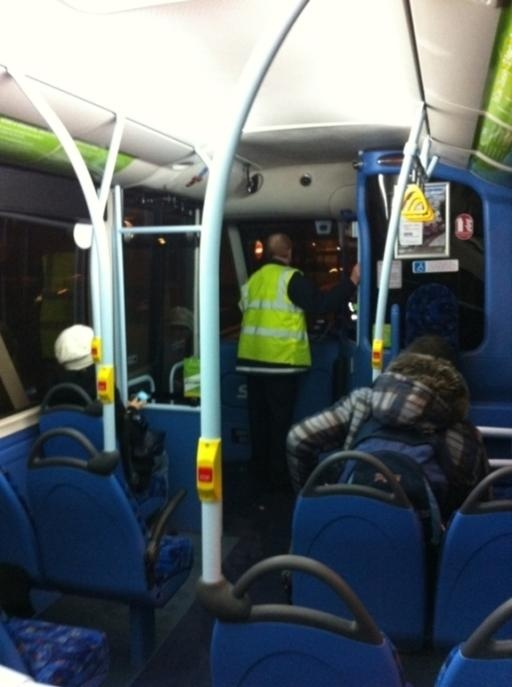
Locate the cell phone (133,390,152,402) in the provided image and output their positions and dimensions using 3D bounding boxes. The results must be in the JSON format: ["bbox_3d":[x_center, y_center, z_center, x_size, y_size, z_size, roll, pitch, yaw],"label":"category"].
[{"bbox_3d":[-0.687,0.309,3.698,0.071,0.067,0.057,-6,10,-43],"label":"cell phone"}]

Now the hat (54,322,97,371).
[{"bbox_3d":[-0.991,0.020,3.321,0.150,0.228,0.179,13,3,35],"label":"hat"}]

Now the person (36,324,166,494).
[{"bbox_3d":[-0.775,0.492,3.367,0.419,1.203,0.537,-8,9,31],"label":"person"}]
